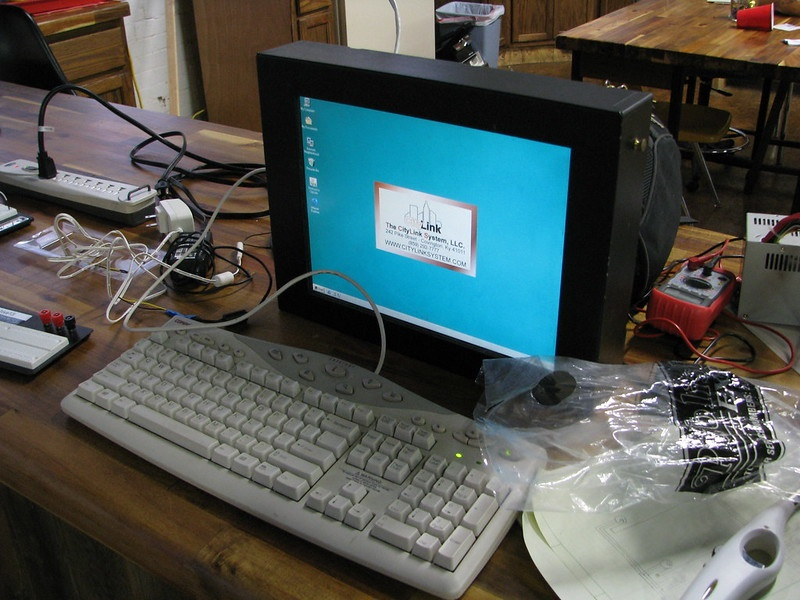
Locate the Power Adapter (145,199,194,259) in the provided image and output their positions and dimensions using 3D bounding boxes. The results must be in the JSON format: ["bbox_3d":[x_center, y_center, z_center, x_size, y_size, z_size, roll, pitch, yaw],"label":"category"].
[{"bbox_3d":[-0.462,-0.157,1.331,0.064,0.078,0.113,-13,30,-28],"label":"Power Adapter"}]

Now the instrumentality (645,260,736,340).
[{"bbox_3d":[0.484,-0.013,1.064,0.101,0.078,0.171,23,42,33],"label":"instrumentality"}]

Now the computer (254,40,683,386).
[{"bbox_3d":[0.082,-0.098,0.915,0.582,0.397,0.085,23,41,27],"label":"computer"}]

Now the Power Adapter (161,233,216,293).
[{"bbox_3d":[-0.384,-0.070,1.210,0.075,0.120,0.044,-17,1,17],"label":"Power Adapter"}]
